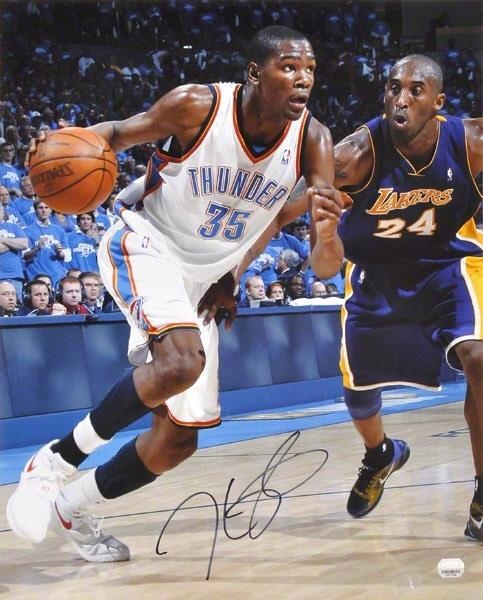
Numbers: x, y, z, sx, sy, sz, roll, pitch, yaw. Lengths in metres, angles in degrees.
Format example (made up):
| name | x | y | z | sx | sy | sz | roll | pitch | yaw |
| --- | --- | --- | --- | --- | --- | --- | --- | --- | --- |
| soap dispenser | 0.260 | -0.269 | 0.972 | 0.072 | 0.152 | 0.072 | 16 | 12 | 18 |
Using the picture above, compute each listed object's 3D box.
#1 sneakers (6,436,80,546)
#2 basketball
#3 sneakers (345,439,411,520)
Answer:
| name | x | y | z | sx | sy | sz | roll | pitch | yaw |
| --- | --- | --- | --- | --- | --- | --- | --- | --- | --- |
| sneakers | -0.449 | 0.447 | 1.419 | 0.134 | 0.108 | 0.292 | -32 | 28 | 15 |
| basketball | -0.403 | -0.328 | 1.378 | 0.183 | 0.225 | 0.148 | 5 | -12 | -44 |
| sneakers | 0.520 | 0.684 | 2.129 | 0.120 | 0.159 | 0.345 | 29 | 72 | 42 |
